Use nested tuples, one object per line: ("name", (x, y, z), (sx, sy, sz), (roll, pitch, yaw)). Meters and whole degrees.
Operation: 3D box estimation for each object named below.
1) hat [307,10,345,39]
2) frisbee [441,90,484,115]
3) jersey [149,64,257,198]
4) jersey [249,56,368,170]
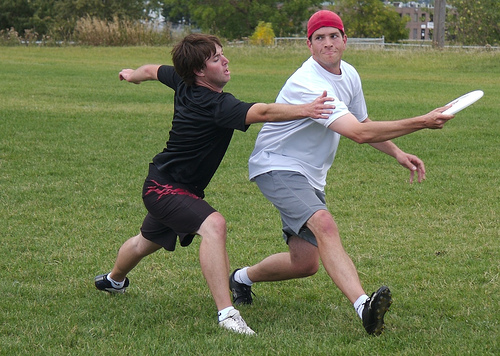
("hat", (0.866, -1.795, 8.170), (0.416, 0.274, 0.442), (-11, -7, 21))
("frisbee", (2.327, -0.826, 7.630), (0.322, 0.229, 0.692), (8, 14, 30))
("jersey", (-0.556, -0.398, 7.942), (1.183, 1.295, 0.345), (5, 11, 15))
("jersey", (0.720, -0.721, 8.105), (1.400, 1.445, 1.439), (1, 13, -5))
